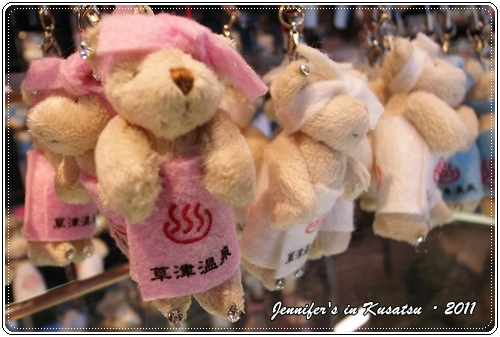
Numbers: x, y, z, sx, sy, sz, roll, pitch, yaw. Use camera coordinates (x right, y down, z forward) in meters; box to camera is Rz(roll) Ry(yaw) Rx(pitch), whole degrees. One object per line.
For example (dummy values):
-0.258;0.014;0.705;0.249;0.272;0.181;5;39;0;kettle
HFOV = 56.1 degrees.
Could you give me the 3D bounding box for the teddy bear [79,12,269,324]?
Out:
-0.148;0.003;1.067;0.394;0.628;0.383;-4;36;2;teddy bear
